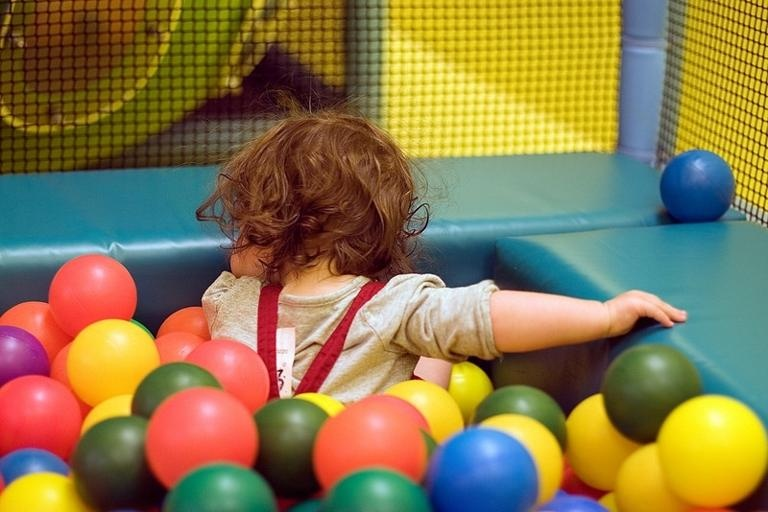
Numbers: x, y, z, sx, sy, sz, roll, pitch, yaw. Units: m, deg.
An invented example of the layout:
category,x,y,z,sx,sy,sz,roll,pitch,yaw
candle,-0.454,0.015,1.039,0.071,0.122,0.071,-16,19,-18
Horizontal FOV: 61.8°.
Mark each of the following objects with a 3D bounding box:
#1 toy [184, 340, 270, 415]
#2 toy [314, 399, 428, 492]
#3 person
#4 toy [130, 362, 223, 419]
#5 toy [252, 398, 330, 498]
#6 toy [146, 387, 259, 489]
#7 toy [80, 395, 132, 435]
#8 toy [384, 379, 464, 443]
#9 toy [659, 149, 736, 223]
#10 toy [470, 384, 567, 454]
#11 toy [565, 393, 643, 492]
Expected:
category,x,y,z,sx,sy,sz,roll,pitch,yaw
toy,-0.340,0.230,1.431,0.153,0.176,0.151,-11,2,-6
toy,0.013,0.350,1.194,0.162,0.185,0.162,-20,-16,26
person,0.046,-0.003,1.852,1.124,0.508,0.833,9,24,31
toy,-0.394,0.248,1.262,0.122,0.141,0.115,16,48,1
toy,-0.184,0.330,1.221,0.105,0.123,0.107,-17,25,-20
toy,-0.351,0.355,1.188,0.188,0.215,0.188,9,-28,-44
toy,-0.585,0.334,1.362,0.084,0.100,0.083,9,45,-11
toy,0.116,0.354,1.608,0.151,0.174,0.148,-15,25,-16
toy,1.045,-0.225,2.143,0.236,0.270,0.240,7,8,38
toy,0.321,0.351,1.524,0.170,0.194,0.167,-1,2,-9
toy,0.532,0.465,1.623,0.175,0.202,0.177,-12,-14,35
